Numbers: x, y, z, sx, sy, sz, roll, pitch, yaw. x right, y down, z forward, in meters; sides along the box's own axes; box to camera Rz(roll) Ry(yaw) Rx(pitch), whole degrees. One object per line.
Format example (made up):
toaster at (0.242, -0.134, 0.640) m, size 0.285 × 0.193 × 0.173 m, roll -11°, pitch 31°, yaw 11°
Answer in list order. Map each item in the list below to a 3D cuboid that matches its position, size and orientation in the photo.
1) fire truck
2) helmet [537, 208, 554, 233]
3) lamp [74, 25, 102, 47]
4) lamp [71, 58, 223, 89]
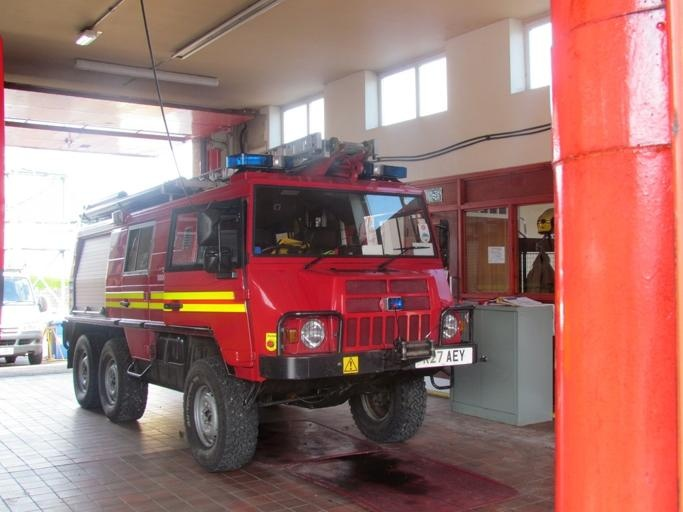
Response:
fire truck at (-1.585, 0.721, 8.159) m, size 3.335 × 3.452 × 6.852 m, roll 3°, pitch -5°, yaw -39°
helmet at (3.379, -0.575, 8.995) m, size 0.161 × 0.401 × 0.325 m, roll 1°, pitch -3°, yaw -30°
lamp at (-4.565, -4.025, 9.885) m, size 0.309 × 0.110 × 0.424 m, roll -8°, pitch -7°, yaw -32°
lamp at (-4.293, -4.049, 12.202) m, size 2.938 × 0.182 × 0.657 m, roll 1°, pitch -3°, yaw -23°
